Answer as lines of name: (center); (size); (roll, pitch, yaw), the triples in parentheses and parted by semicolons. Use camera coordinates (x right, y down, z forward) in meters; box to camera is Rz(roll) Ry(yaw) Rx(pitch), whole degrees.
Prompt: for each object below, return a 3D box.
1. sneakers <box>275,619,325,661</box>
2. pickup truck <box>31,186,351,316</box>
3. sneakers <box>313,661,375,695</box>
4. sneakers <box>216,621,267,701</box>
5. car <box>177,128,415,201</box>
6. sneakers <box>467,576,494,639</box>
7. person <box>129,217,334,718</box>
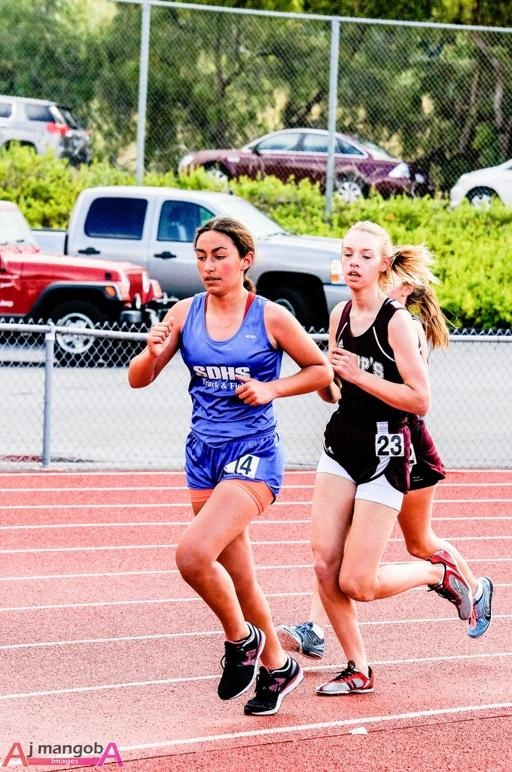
sneakers: (0.189, 0.982, 3.309); (0.219, 0.091, 0.127); (29, 43, -4)
pickup truck: (-0.822, -2.263, 13.535); (4.406, 1.938, 2.327); (0, 9, 7)
sneakers: (0.331, 1.050, 3.022); (0.251, 0.113, 0.091); (0, -1, -14)
sneakers: (-0.068, 0.885, 2.649); (0.133, 0.272, 0.105); (2, 10, -41)
car: (1.079, -5.117, 18.823); (4.439, 1.524, 1.907); (5, 6, 1)
sneakers: (1.026, 1.007, 3.764); (0.101, 0.287, 0.131); (-2, -20, 46)
person: (-0.077, 0.282, 2.666); (0.656, 1.543, 0.528); (3, 0, -14)
